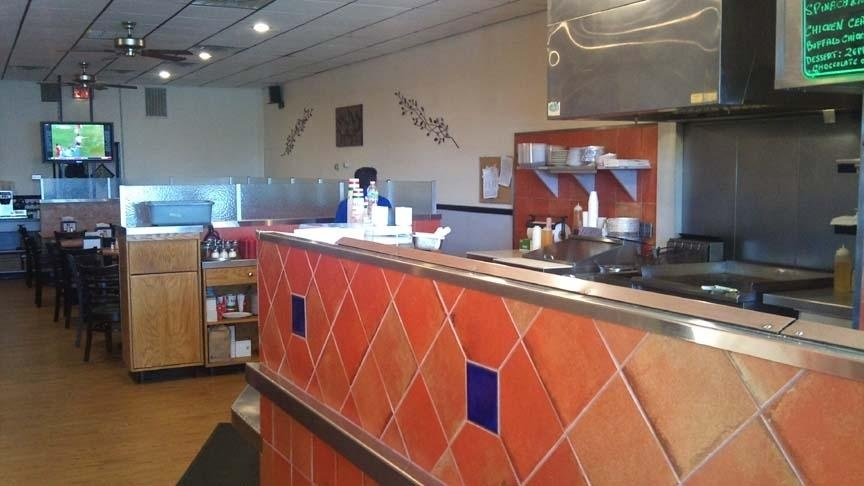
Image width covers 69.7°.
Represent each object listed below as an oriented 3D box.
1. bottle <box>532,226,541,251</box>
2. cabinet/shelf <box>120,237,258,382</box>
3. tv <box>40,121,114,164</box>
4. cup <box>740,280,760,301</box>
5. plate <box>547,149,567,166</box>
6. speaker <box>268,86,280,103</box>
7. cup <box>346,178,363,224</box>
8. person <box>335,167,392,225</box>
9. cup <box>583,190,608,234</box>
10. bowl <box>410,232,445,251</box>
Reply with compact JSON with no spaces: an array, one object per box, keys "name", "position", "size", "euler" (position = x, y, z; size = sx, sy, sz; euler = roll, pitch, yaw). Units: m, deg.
[{"name":"bottle","position":[1.054,-0.050,6.296],"size":[0.104,0.214,0.234],"euler":[2,12,9]},{"name":"cabinet/shelf","position":[-2.540,0.670,6.346],"size":[1.657,1.404,0.621],"euler":[-1,2,-31]},{"name":"tv","position":[-6.892,-1.947,11.948],"size":[0.933,0.537,0.125],"euler":[-1,3,-21]},{"name":"cup","position":[2.219,0.304,4.353],"size":[0.122,0.134,0.213],"euler":[0,2,12]},{"name":"plate","position":[1.292,-0.918,6.543],"size":[0.206,0.167,0.193],"euler":[1,16,-15]},{"name":"speaker","position":[-3.296,-3.094,13.001],"size":[0.274,0.432,0.231],"euler":[-4,13,-17]},{"name":"cup","position":[-0.592,-0.326,4.812],"size":[0.131,0.318,0.263],"euler":[-1,12,-6]},{"name":"person","position":[-0.848,-0.505,7.292],"size":[0.685,0.324,1.428],"euler":[5,31,-8]},{"name":"cup","position":[1.570,-0.297,5.979],"size":[0.222,0.381,0.313],"euler":[3,13,13]},{"name":"bowl","position":[-0.050,-0.012,4.525],"size":[0.179,0.076,0.203],"euler":[2,-3,-8]}]
